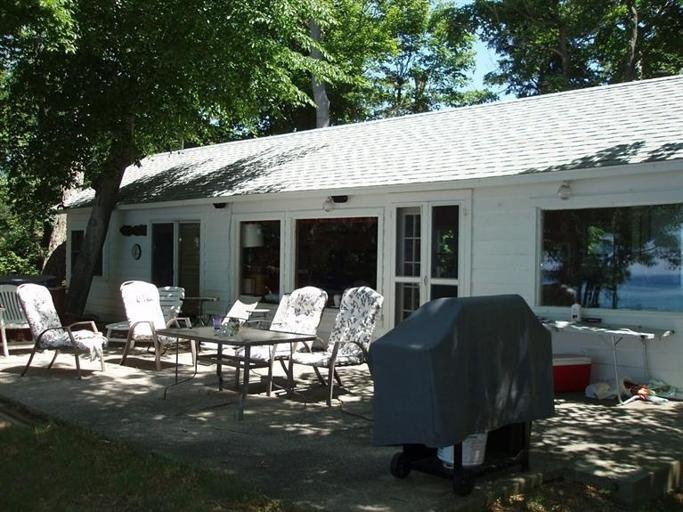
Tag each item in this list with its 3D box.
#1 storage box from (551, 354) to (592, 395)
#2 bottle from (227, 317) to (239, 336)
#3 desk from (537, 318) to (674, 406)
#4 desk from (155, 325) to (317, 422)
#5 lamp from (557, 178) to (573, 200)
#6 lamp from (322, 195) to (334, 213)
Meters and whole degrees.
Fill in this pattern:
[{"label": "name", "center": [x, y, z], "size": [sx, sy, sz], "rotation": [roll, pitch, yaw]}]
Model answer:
[{"label": "storage box", "center": [3.426, 1.753, 9.039], "size": [0.686, 0.525, 0.704], "rotation": [-2, -1, 10]}, {"label": "bottle", "center": [-1.476, 0.977, 8.263], "size": [0.144, 0.189, 0.262], "rotation": [0, 3, -14]}, {"label": "desk", "center": [3.738, 1.486, 8.726], "size": [1.134, 1.054, 1.565], "rotation": [-3, 5, -45]}, {"label": "desk", "center": [-1.654, 1.493, 8.589], "size": [2.367, 0.954, 1.599], "rotation": [4, 4, 45]}, {"label": "lamp", "center": [3.428, -1.037, 9.291], "size": [0.251, 0.361, 0.255], "rotation": [1, 0, 39]}, {"label": "lamp", "center": [-0.246, -1.010, 11.732], "size": [0.285, 0.284, 0.070], "rotation": [4, 5, 44]}]
